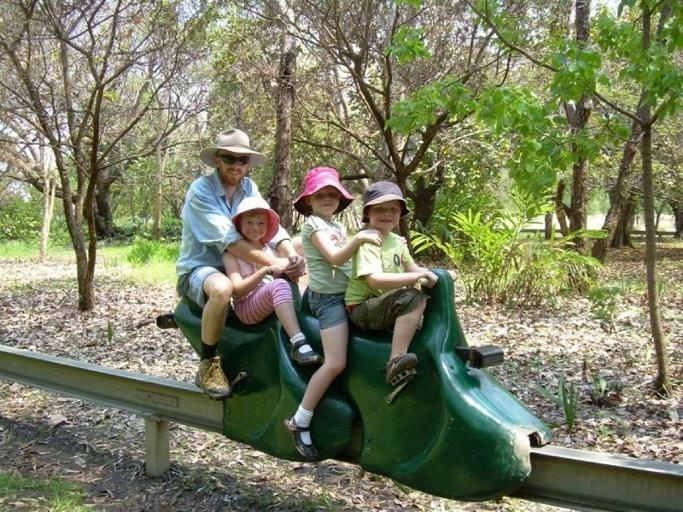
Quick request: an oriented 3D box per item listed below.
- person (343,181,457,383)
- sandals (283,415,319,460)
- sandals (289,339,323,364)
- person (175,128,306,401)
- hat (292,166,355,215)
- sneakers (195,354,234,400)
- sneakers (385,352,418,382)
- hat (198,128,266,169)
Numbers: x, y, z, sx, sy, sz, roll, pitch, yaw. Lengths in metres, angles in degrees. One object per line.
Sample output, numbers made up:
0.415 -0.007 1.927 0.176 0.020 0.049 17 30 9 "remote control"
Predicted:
0.353 0.157 4.262 0.659 1.404 0.422 1 0 41 "person"
-0.277 1.261 4.323 0.152 0.360 0.135 -43 -19 14 "sandals"
-0.246 0.671 4.264 0.108 0.115 0.263 -1 -2 -35 "sandals"
-0.735 0.003 4.844 1.086 1.951 1.025 0 6 4 "person"
-0.165 -0.524 4.655 0.346 0.212 0.389 -5 -26 -10 "hat"
-0.931 0.883 4.538 0.286 0.278 0.121 1 0 38 "sneakers"
0.399 0.725 4.018 0.081 0.128 0.229 -22 -14 -43 "sneakers"
-0.900 -0.909 4.990 0.484 0.221 0.483 -4 2 -13 "hat"
